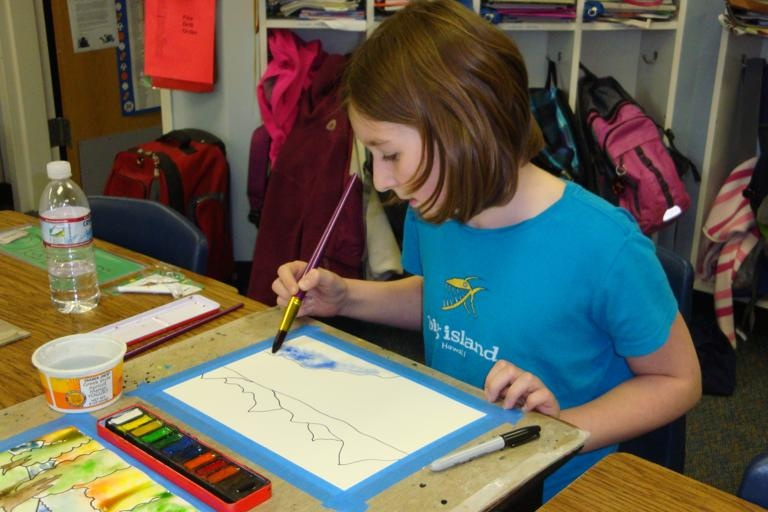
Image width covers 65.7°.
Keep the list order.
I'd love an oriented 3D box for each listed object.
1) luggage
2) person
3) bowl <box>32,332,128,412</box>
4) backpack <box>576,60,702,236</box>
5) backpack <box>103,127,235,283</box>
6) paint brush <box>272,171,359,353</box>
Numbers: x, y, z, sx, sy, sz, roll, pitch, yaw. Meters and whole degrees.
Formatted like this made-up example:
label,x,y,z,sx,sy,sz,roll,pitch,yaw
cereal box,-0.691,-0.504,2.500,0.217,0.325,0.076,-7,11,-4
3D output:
label,x,y,z,sx,sy,sz,roll,pitch,yaw
luggage,-0.917,-0.211,2.553,0.440,0.616,0.456,11,12,23
person,0.187,-0.068,1.091,0.793,0.726,0.381,18,27,31
bowl,-0.493,0.190,0.963,0.147,0.078,0.151,5,14,-1
backpack,1.017,-0.447,2.783,0.499,0.771,0.275,-41,2,-18
backpack,-0.727,-0.183,2.080,0.385,0.539,0.430,25,31,29
paint brush,-0.182,-0.012,1.656,0.058,0.046,0.673,7,63,35
